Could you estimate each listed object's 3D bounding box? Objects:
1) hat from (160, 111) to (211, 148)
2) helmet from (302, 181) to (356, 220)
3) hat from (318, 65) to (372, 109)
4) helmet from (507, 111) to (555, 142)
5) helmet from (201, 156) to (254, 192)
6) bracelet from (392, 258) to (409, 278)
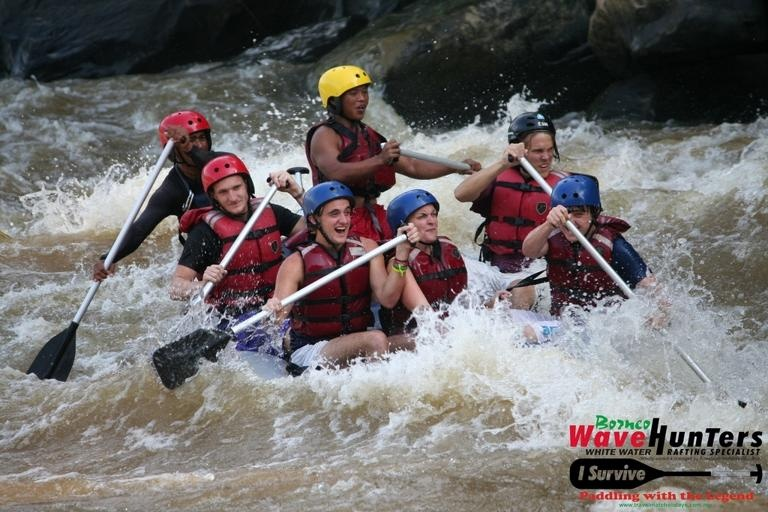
[{"bbox_3d":[-2.308,-1.478,10.116,0.503,0.460,0.387,-11,2,25],"label":"hat"},{"bbox_3d":[-0.565,-0.541,9.057,0.449,0.273,0.320,-24,-24,11],"label":"helmet"},{"bbox_3d":[-0.444,-1.837,9.652,0.577,0.437,0.438,0,19,21],"label":"hat"},{"bbox_3d":[1.599,-1.419,9.823,0.493,0.304,0.300,-15,31,6],"label":"helmet"},{"bbox_3d":[-1.653,-0.880,9.330,0.367,0.425,0.469,-15,-13,-14],"label":"helmet"},{"bbox_3d":[0.155,0.100,8.790,0.138,0.123,0.168,2,0,-8],"label":"bracelet"}]
